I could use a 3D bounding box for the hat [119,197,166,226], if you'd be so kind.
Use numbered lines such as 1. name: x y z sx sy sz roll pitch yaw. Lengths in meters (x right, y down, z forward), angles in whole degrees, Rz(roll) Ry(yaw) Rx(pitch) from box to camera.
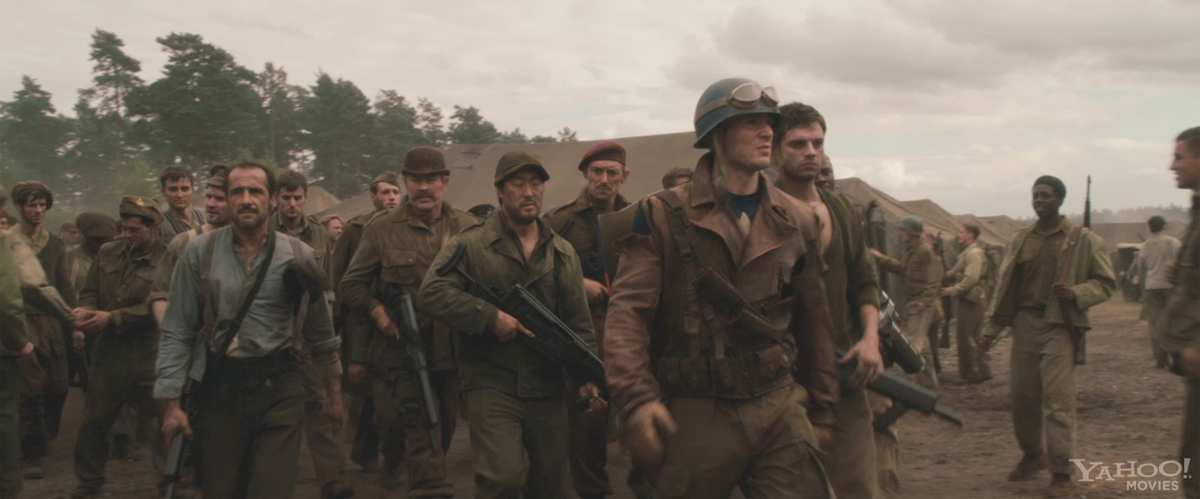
1. hat: -7.155 -0.587 15.183 0.539 0.254 0.598 2 -5 31

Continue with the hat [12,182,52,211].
1. hat: -9.336 -0.879 15.765 0.618 0.234 0.445 1 -6 9

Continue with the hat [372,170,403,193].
1. hat: -3.528 -1.123 15.998 0.439 0.208 0.386 0 0 21
